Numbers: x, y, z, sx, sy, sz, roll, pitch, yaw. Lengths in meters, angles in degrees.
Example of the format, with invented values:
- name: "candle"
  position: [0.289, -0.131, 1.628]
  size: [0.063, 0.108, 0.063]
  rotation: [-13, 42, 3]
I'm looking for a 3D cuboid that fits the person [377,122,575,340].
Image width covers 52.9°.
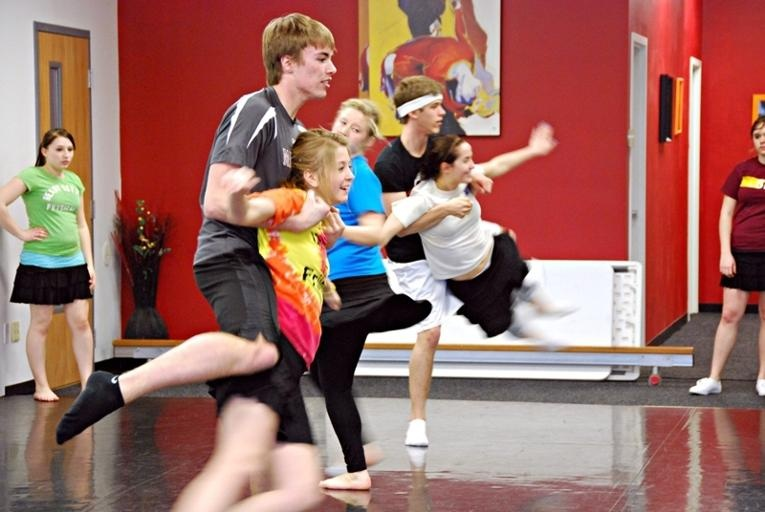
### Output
- name: "person"
  position: [0.682, -0.188, 4.959]
  size: [1.122, 1.392, 1.578]
  rotation: [-3, 40, 11]

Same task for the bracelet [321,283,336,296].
- name: "bracelet"
  position: [-0.236, 0.147, 3.378]
  size: [0.029, 0.034, 0.092]
  rotation: [0, 4, 6]

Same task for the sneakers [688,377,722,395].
- name: "sneakers"
  position: [2.633, 1.048, 6.198]
  size: [0.315, 0.112, 0.109]
  rotation: [0, -5, -16]
